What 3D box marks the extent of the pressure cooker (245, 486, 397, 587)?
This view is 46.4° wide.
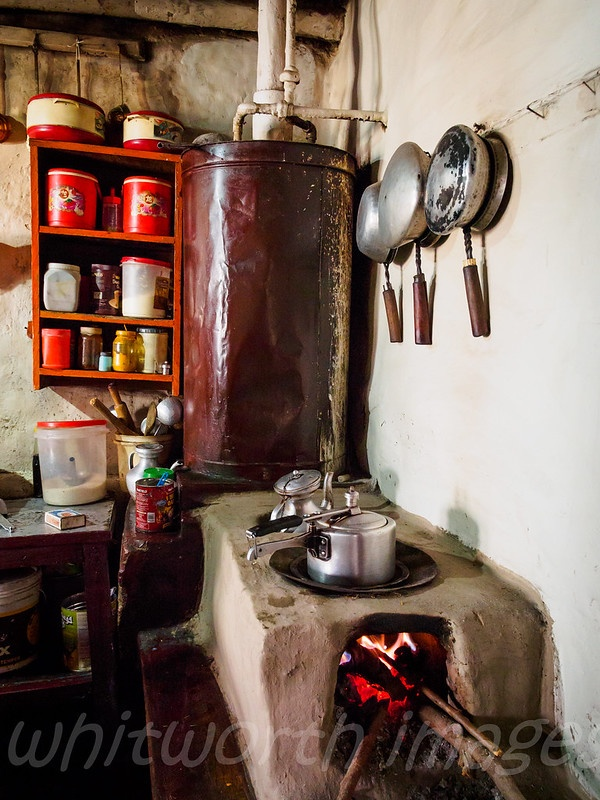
[{"bbox_3d":[0.066,0.308,1.631,0.348,0.189,0.178,-3,2,-27],"label":"pressure cooker"}]

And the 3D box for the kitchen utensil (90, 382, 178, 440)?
[{"bbox_3d":[-0.661,0.010,2.778,0.266,0.275,0.222,-15,9,-15],"label":"kitchen utensil"}]

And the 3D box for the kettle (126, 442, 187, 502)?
[{"bbox_3d":[-0.551,0.254,2.460,0.154,0.221,0.197,-12,-19,34],"label":"kettle"}]

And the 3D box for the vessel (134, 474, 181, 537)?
[{"bbox_3d":[-0.453,0.334,2.189,0.145,0.165,0.147,2,2,-13],"label":"vessel"}]

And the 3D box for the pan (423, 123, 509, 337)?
[{"bbox_3d":[0.395,-0.411,1.723,0.129,0.509,0.245,-1,9,-15],"label":"pan"}]

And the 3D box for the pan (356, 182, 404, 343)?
[{"bbox_3d":[0.246,-0.440,2.256,0.086,0.441,0.256,-5,7,-3],"label":"pan"}]
